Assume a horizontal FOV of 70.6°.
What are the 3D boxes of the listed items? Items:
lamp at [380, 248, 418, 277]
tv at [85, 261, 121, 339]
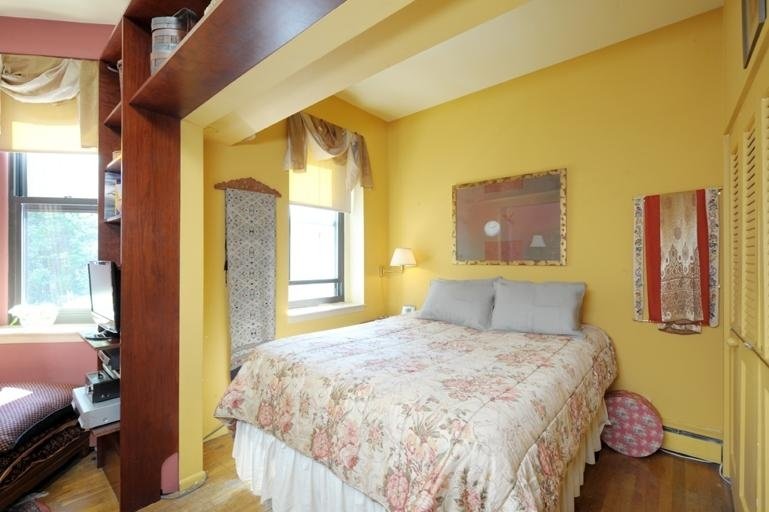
[{"bbox_3d":[0.160,0.083,6.406,0.333,0.338,0.547,-1,1,-32],"label":"lamp"},{"bbox_3d":[-2.304,0.359,4.456,0.086,0.438,0.603,-4,6,-45],"label":"tv"}]
